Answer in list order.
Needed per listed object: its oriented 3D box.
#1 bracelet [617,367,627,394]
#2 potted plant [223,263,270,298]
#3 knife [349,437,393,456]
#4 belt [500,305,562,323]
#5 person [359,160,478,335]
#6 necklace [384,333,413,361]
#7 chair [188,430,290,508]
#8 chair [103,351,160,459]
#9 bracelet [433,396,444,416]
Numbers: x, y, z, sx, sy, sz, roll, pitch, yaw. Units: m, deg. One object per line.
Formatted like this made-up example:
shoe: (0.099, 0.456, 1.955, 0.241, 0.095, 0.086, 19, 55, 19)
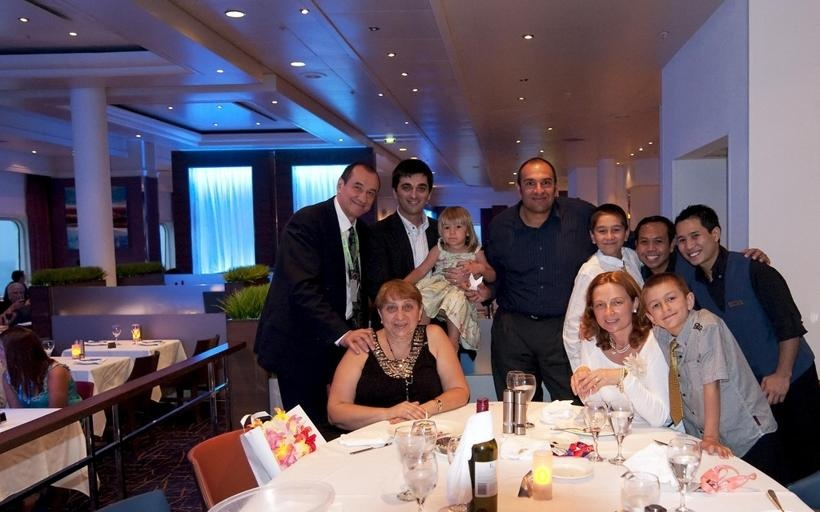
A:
bracelet: (1.421, 0.825, 3.842, 0.055, 0.119, 0.107, 4, 0, 12)
potted plant: (-2.602, 0.341, 9.010, 0.492, 0.382, 0.908, 1, 4, 15)
knife: (-0.236, 1.190, 3.613, 0.306, 0.070, 0.084, -10, 2, -7)
belt: (1.058, 0.512, 5.050, 0.581, 0.128, 0.114, -5, 3, 23)
person: (0.071, -0.076, 5.202, 0.932, 1.539, 0.869, -8, 12, -20)
necklace: (-0.088, 0.685, 4.275, 0.192, 0.140, 0.196, -9, -17, 28)
chair: (-1.097, 1.337, 3.656, 0.413, 0.431, 0.407, -16, -21, -27)
chair: (-3.254, 1.680, 6.723, 0.706, 1.090, 1.291, -8, 3, -24)
bracelet: (0.186, 1.054, 4.044, 0.062, 0.085, 0.088, 3, 42, -4)
